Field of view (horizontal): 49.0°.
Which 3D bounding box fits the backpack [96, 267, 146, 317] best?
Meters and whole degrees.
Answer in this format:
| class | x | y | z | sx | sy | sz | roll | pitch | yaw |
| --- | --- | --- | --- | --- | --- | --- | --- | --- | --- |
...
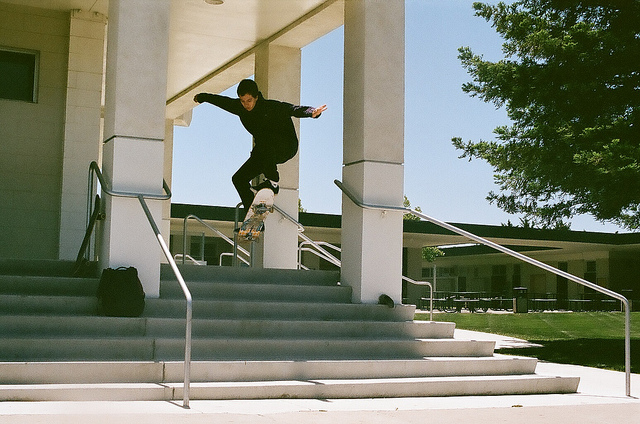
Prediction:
| class | x | y | z | sx | sy | sz | roll | pitch | yaw |
| --- | --- | --- | --- | --- | --- | --- | --- | --- | --- |
| backpack | -2.990 | 1.193 | 10.543 | 0.688 | 0.741 | 0.272 | 4 | -7 | -18 |
